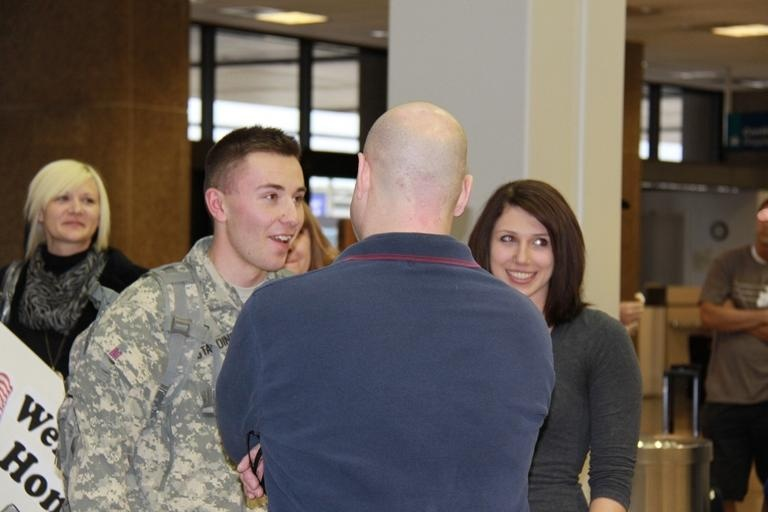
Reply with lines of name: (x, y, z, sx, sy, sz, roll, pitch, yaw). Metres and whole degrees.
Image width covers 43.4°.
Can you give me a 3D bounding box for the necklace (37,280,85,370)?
necklace: (-1.994, 0.401, 5.943, 0.354, 0.497, 0.177, -1, -1, 18)
